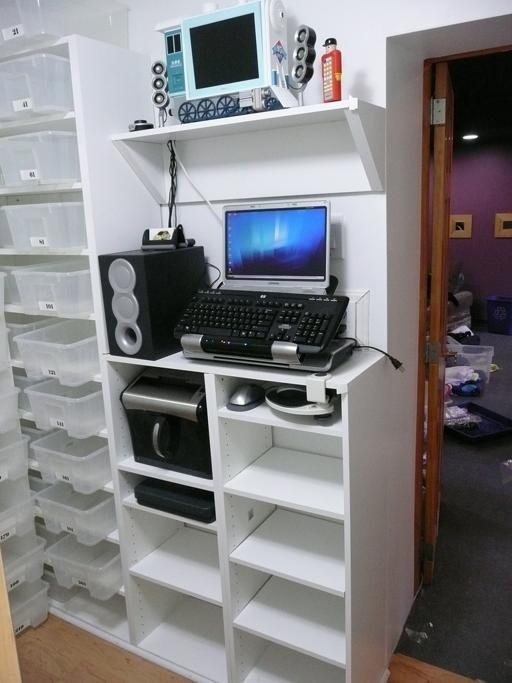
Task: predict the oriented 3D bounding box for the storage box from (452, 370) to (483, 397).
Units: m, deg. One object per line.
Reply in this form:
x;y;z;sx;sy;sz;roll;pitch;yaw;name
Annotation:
1.728;0.348;4.332;0.265;0.178;0.104;-3;14;-15;storage box

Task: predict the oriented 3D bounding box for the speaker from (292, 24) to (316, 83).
0.118;-0.718;1.346;0.057;0.129;0.065;1;13;1;speaker

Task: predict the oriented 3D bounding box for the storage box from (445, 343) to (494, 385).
1.670;0.181;4.216;0.289;0.220;0.161;6;11;30;storage box

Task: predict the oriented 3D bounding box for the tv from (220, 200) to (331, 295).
0.066;-0.270;1.524;0.262;0.202;0.011;6;13;29;tv

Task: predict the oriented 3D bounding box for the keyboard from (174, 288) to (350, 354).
0.002;-0.049;1.419;0.471;0.161;0.211;10;16;31;keyboard

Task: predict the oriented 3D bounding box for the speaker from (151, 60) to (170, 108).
-0.284;-0.764;1.590;0.047;0.131;0.065;-1;13;-10;speaker
